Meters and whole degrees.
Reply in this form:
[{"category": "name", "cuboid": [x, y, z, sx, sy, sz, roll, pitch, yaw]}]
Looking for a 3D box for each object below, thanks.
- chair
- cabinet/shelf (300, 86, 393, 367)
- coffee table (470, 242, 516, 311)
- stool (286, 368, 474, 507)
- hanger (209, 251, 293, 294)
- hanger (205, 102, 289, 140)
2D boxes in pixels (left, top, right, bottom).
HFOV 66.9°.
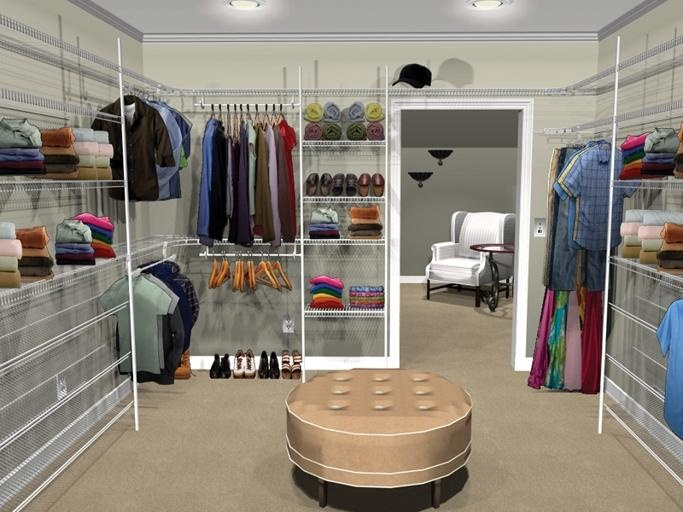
[{"category": "chair", "cuboid": [1.834, 0.006, 7.693, 1.180, 1.833, 1.334, 2, 3, 37]}, {"category": "cabinet/shelf", "cuboid": [0.095, -0.185, 4.579, 0.906, 2.533, 0.480, 0, 10, -2]}, {"category": "coffee table", "cuboid": [2.014, 0.285, 6.948, 0.722, 0.964, 0.781, 0, 0, 3]}, {"category": "stool", "cuboid": [0.246, 0.984, 2.985, 0.719, 0.387, 0.785, 1, 8, 5]}, {"category": "hanger", "cuboid": [-0.832, 0.164, 4.575, 0.525, 0.224, 0.401, 1, 2, -5]}, {"category": "hanger", "cuboid": [-0.793, -1.189, 4.524, 0.692, 0.271, 0.442, -3, 11, -18]}]
